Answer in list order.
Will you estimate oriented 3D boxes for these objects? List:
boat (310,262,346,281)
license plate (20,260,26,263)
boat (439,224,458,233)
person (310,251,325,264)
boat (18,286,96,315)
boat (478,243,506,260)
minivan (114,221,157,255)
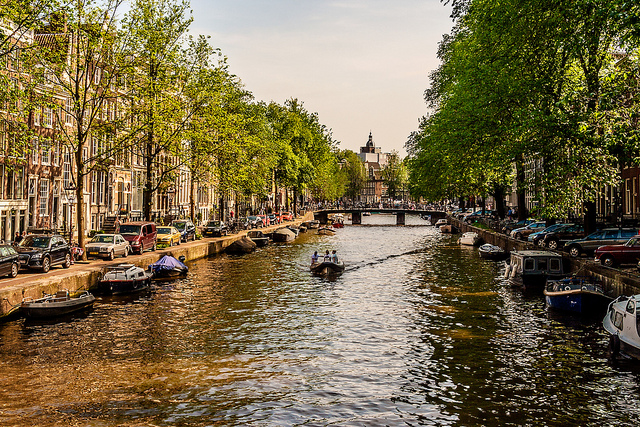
[{"bbox_3d":[0.764,4.985,56.023,2.769,1.135,3.753,0,9,-1],"label":"boat"},{"bbox_3d":[-20.118,3.262,43.307,0.306,0.146,0.061,2,5,-17],"label":"license plate"},{"bbox_3d":[22.259,2.598,108.801,2.218,1.380,2.681,-3,9,-17],"label":"boat"},{"bbox_3d":[-0.192,4.336,62.645,1.276,1.336,0.448,0,0,-7],"label":"person"},{"bbox_3d":[-16.587,5.705,40.178,2.623,1.735,5.310,-5,-2,22],"label":"boat"},{"bbox_3d":[18.368,4.102,67.041,2.249,1.203,2.846,-3,9,-15],"label":"boat"},{"bbox_3d":[-16.085,2.052,56.936,2.308,2.435,5.659,0,0,3],"label":"minivan"}]
